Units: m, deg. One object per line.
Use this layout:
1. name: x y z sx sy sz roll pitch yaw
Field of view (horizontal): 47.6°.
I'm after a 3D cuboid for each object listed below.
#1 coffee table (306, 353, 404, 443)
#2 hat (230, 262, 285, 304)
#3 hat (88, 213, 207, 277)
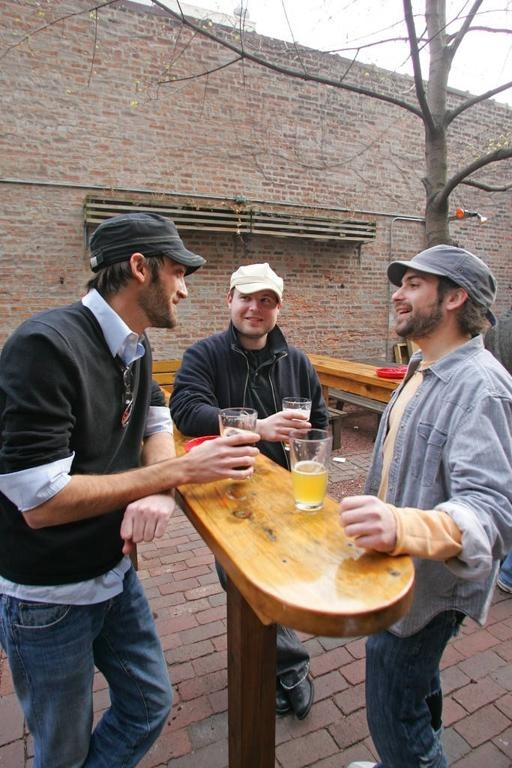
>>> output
1. coffee table: 0.976 0.141 5.612 1.287 0.449 0.394 -5 18 40
2. hat: -0.009 -0.468 2.683 0.161 0.101 0.219 3 14 -20
3. hat: -0.344 -0.441 1.856 0.363 0.177 0.246 -7 6 0
